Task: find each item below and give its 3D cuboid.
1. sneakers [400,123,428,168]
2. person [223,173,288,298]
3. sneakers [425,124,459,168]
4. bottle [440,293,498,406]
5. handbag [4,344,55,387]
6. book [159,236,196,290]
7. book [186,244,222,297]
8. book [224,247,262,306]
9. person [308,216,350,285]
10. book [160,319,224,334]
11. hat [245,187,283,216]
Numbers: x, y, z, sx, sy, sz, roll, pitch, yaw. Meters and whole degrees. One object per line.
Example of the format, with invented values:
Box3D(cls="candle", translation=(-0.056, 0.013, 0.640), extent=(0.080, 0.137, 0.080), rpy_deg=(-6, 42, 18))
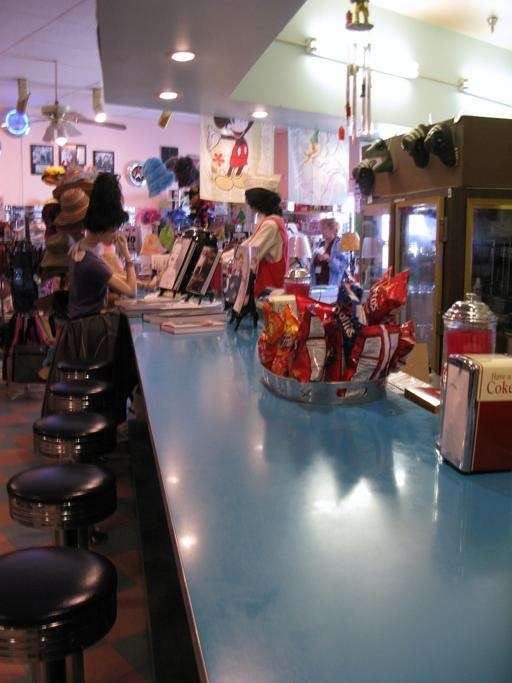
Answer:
Box3D(cls="sneakers", translation=(0.972, -1.182, 3.046), extent=(0.104, 0.286, 0.153), rpy_deg=(-7, 7, -25))
Box3D(cls="person", translation=(0.010, -0.452, 3.265), extent=(0.379, 1.119, 0.402), rpy_deg=(-1, 13, 0))
Box3D(cls="sneakers", translation=(1.055, -1.124, 2.896), extent=(0.152, 0.274, 0.219), rpy_deg=(0, 5, 4))
Box3D(cls="bottle", translation=(0.368, -0.020, 0.867), extent=(0.083, 0.097, 0.069), rpy_deg=(2, 6, 25))
Box3D(cls="handbag", translation=(-2.147, 0.216, 4.767), extent=(0.343, 0.399, 0.210), rpy_deg=(1, 3, 0))
Box3D(cls="book", translation=(-0.534, -0.526, 3.408), extent=(0.072, 0.350, 0.300), rpy_deg=(19, -15, -30))
Box3D(cls="book", translation=(-0.321, -0.428, 3.111), extent=(0.061, 0.301, 0.257), rpy_deg=(19, -12, -28))
Box3D(cls="book", translation=(-0.071, -0.331, 2.586), extent=(0.040, 0.311, 0.301), rpy_deg=(9, 1, -30))
Box3D(cls="person", translation=(0.935, -1.157, 6.384), extent=(0.457, 0.877, 0.649), rpy_deg=(1, 5, 10))
Box3D(cls="book", translation=(-0.314, -0.069, 2.531), extent=(0.318, 0.050, 0.251), rpy_deg=(-2, 6, -20))
Box3D(cls="hat", translation=(0.060, -0.916, 3.402), extent=(0.218, 0.196, 0.183), rpy_deg=(0, 6, -43))
